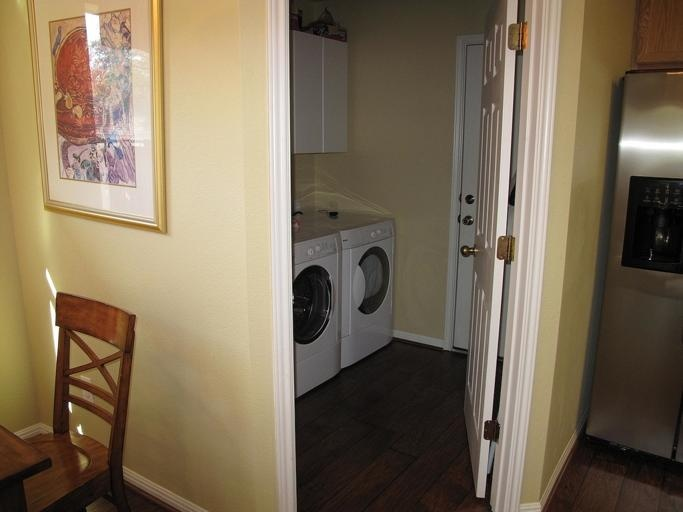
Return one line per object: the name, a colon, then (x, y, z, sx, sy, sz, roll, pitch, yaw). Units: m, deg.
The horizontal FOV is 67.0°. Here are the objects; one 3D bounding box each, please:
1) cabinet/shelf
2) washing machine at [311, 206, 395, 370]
cabinet/shelf: (-0.146, -1.079, 3.919, 0.396, 0.571, 0.163, -1, 19, -2)
washing machine: (0.005, 0.190, 4.168, 0.677, 1.044, 0.706, -14, 22, -38)
